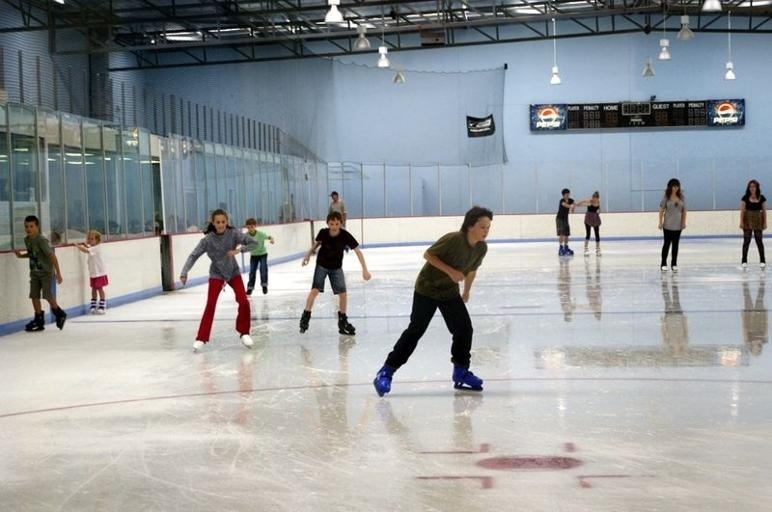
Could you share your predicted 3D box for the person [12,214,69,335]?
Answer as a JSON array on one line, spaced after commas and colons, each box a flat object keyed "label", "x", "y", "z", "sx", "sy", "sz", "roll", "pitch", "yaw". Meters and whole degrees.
[{"label": "person", "x": -5.021, "y": 0.222, "z": 10.559, "sx": 0.813, "sy": 1.711, "sz": 0.370, "roll": 0, "pitch": 9, "yaw": 14}]

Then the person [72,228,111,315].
[{"label": "person", "x": -4.886, "y": 0.238, "z": 12.020, "sx": 0.424, "sy": 1.397, "sz": 0.358, "roll": -4, "pitch": 9, "yaw": -13}]

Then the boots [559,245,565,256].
[{"label": "boots", "x": 5.230, "y": -0.243, "z": 21.282, "sx": 0.185, "sy": 0.264, "sz": 0.540, "roll": 0, "pitch": 8, "yaw": 12}]

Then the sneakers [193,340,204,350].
[{"label": "sneakers", "x": -2.347, "y": 1.094, "z": 9.077, "sx": 0.123, "sy": 0.138, "sz": 0.236, "roll": -4, "pitch": 9, "yaw": -14}]

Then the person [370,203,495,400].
[{"label": "person", "x": 0.501, "y": 0.418, "z": 7.061, "sx": 1.052, "sy": 1.861, "sz": 0.886, "roll": -1, "pitch": 8, "yaw": 5}]

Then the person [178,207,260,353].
[{"label": "person", "x": -2.129, "y": 0.255, "z": 9.343, "sx": 0.924, "sy": 1.803, "sz": 1.113, "roll": -4, "pitch": 9, "yaw": -15}]
